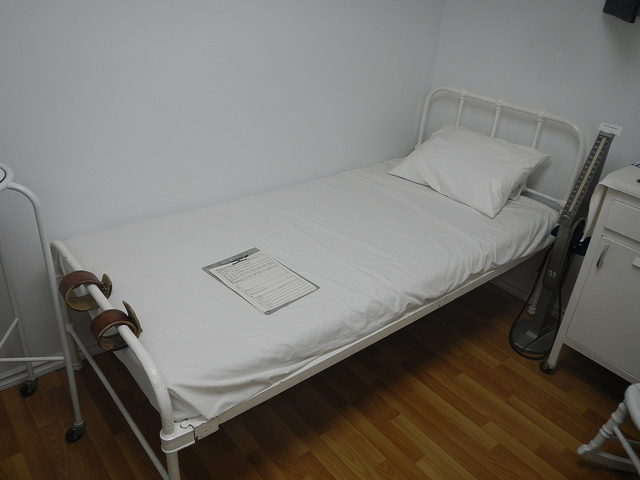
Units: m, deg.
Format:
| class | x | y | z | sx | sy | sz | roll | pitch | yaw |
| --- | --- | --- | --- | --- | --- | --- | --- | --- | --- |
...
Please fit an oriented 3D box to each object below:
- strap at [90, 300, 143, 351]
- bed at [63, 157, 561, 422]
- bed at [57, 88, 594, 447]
| class | x | y | z | sx | sy | sz | roll | pitch | yaw |
| --- | --- | --- | --- | --- | --- | --- | --- | --- | --- |
| strap | -0.734 | 0.321 | 1.491 | 0.139 | 0.161 | 0.095 | -15 | 45 | -34 |
| bed | 0.055 | 0.072 | 2.106 | 2.037 | 0.287 | 1.163 | -20 | 44 | -29 |
| bed | 0.162 | -0.161 | 2.247 | 2.720 | 0.770 | 1.351 | -25 | 41 | -31 |
